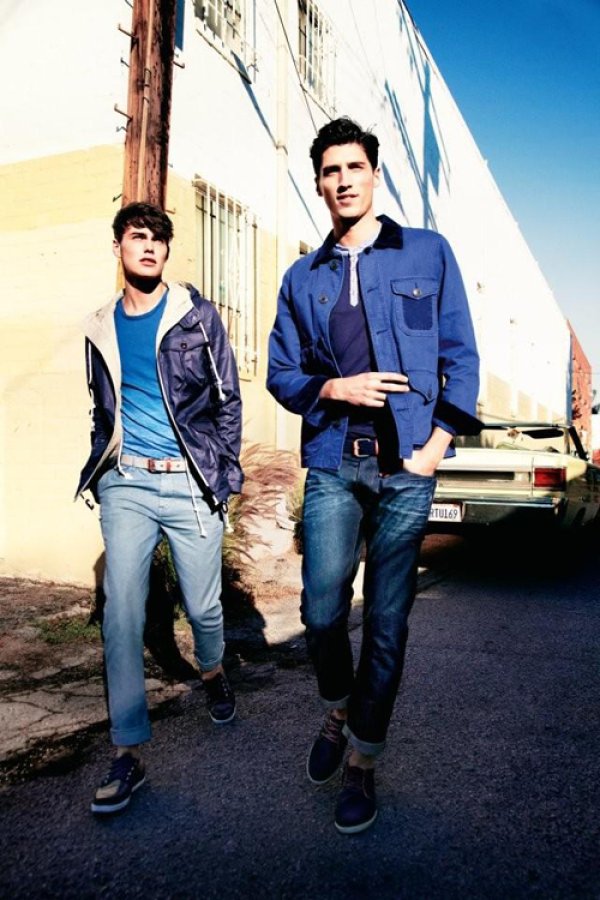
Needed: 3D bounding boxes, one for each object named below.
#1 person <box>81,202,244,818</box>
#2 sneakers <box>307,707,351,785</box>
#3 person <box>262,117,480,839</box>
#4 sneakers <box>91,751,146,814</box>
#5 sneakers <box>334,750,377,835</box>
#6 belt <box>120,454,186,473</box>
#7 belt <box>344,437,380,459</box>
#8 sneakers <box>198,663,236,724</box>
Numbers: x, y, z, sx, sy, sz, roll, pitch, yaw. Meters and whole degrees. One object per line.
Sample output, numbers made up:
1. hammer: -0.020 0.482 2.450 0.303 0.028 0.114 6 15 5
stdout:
1. person: -0.588 0.083 2.463 0.491 2.008 0.846 -1 -2 25
2. sneakers: 0.086 0.945 2.247 0.090 0.111 0.281 13 23 12
3. person: 0.186 0.037 2.070 0.695 2.071 0.388 -2 -3 44
4. sneakers: -0.560 1.013 2.098 0.091 0.126 0.296 -2 -7 9
5. sneakers: 0.156 0.986 1.922 0.071 0.075 0.201 -2 6 7
6. belt: -0.527 0.048 2.401 0.231 0.064 0.070 1 -2 -15
7. belt: 0.179 -0.008 1.973 0.079 0.052 0.078 0 1 -27
8. sneakers: -0.322 0.982 2.682 0.083 0.102 0.251 -19 -2 -4
